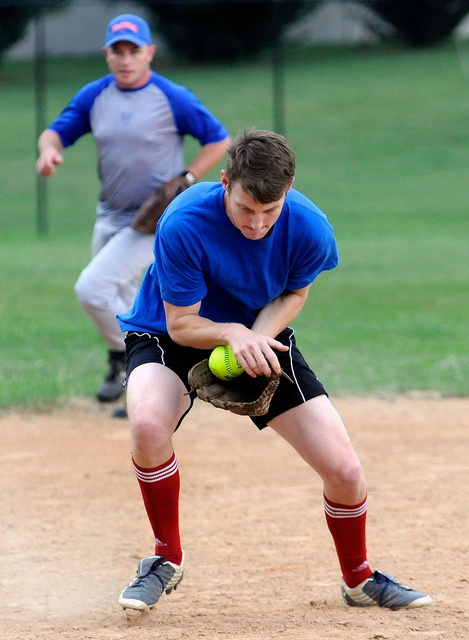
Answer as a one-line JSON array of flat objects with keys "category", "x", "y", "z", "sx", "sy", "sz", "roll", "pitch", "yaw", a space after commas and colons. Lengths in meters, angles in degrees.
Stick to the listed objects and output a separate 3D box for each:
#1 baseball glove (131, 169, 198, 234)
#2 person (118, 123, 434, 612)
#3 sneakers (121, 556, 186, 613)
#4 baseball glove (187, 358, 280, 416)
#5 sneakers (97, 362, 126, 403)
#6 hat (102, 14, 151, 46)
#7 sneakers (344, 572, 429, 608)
[{"category": "baseball glove", "x": -0.338, "y": -0.520, "z": 3.886, "sx": 0.139, "sy": 0.243, "sz": 0.334, "roll": 43, "pitch": 50, "yaw": 8}, {"category": "person", "x": 0.006, "y": 0.167, "z": 2.754, "sx": 0.877, "sy": 1.511, "sz": 0.669, "roll": -5, "pitch": 18, "yaw": -8}, {"category": "sneakers", "x": -0.242, "y": 0.790, "z": 2.716, "sx": 0.106, "sy": 0.116, "sz": 0.272, "roll": 22, "pitch": 28, "yaw": 26}, {"category": "baseball glove", "x": -0.016, "y": 0.224, "z": 2.707, "sx": 0.261, "sy": 0.099, "sz": 0.184, "roll": 18, "pitch": 35, "yaw": -6}, {"category": "sneakers", "x": -0.661, "y": 0.344, "z": 4.689, "sx": 0.097, "sy": 0.163, "sz": 0.238, "roll": 13, "pitch": 46, "yaw": 8}, {"category": "hat", "x": -0.476, "y": -1.288, "z": 3.862, "sx": 0.172, "sy": 0.101, "sz": 0.210, "roll": 0, "pitch": 8, "yaw": 2}, {"category": "sneakers", "x": 0.479, "y": 0.860, "z": 2.794, "sx": 0.293, "sy": 0.094, "sz": 0.108, "roll": 1, "pitch": 2, "yaw": 6}]
